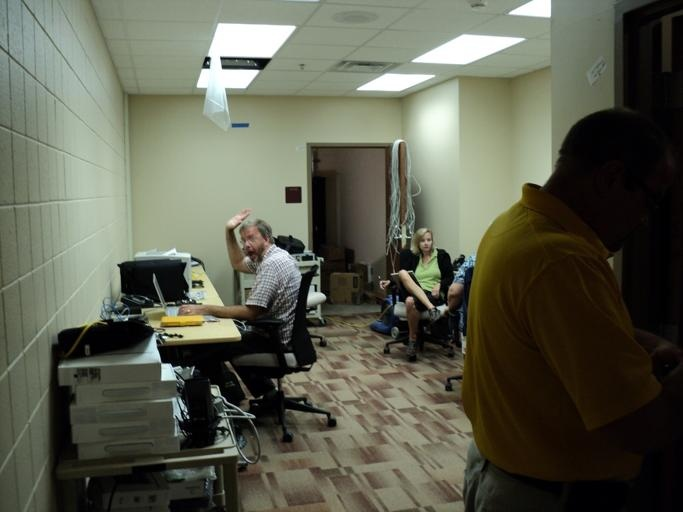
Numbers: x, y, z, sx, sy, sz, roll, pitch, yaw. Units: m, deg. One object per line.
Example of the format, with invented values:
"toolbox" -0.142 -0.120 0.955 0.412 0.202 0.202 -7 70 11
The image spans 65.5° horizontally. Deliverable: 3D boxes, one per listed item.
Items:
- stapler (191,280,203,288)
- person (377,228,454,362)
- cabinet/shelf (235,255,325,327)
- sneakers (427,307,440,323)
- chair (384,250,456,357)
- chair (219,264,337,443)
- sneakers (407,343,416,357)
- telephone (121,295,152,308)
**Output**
"stapler" -1.437 0.288 5.293 0.090 0.037 0.071 1 13 2
"person" 0.868 0.384 5.896 0.730 1.425 0.993 0 -3 16
"cabinet/shelf" -0.739 0.459 6.643 0.796 1.170 1.033 -1 0 -10
"sneakers" 0.979 0.618 5.487 0.134 0.162 0.119 -1 5 -5
"chair" 0.864 0.432 5.931 0.735 1.425 0.775 -1 3 4
"chair" -0.440 0.659 4.357 0.951 1.613 1.069 1 0 -8
"sneakers" 0.732 0.972 5.464 0.083 0.139 0.125 0 6 7
"telephone" -1.577 0.356 4.110 0.134 0.067 0.128 12 10 35
